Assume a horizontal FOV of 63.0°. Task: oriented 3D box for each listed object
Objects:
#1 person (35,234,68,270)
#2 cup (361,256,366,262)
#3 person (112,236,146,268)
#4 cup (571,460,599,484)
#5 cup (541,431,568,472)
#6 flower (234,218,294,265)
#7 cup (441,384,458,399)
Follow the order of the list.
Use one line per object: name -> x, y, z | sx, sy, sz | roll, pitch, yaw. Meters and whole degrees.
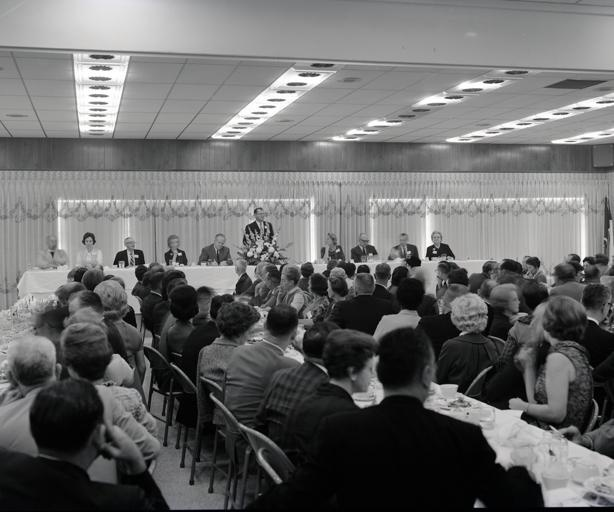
person -> -6.432, 0.110, 12.636 | 0.577, 1.144, 0.558 | 3, -13, -31
cup -> 1.593, 0.101, 13.782 | 0.117, 0.250, 0.126 | 0, -4, 0
person -> -4.742, -0.081, 13.197 | 0.644, 0.887, 0.464 | -1, -8, -1
cup -> 1.406, 1.083, 2.561 | 0.102, 0.106, 0.110 | 0, -2, 0
cup -> 1.354, 1.068, 2.687 | 0.113, 0.210, 0.118 | 1, -9, 0
flower -> -1.054, -0.348, 11.819 | 0.949, 0.970, 1.266 | 2, -8, -8
cup -> 1.145, 1.080, 4.016 | 0.100, 0.077, 0.110 | -2, -10, 0
